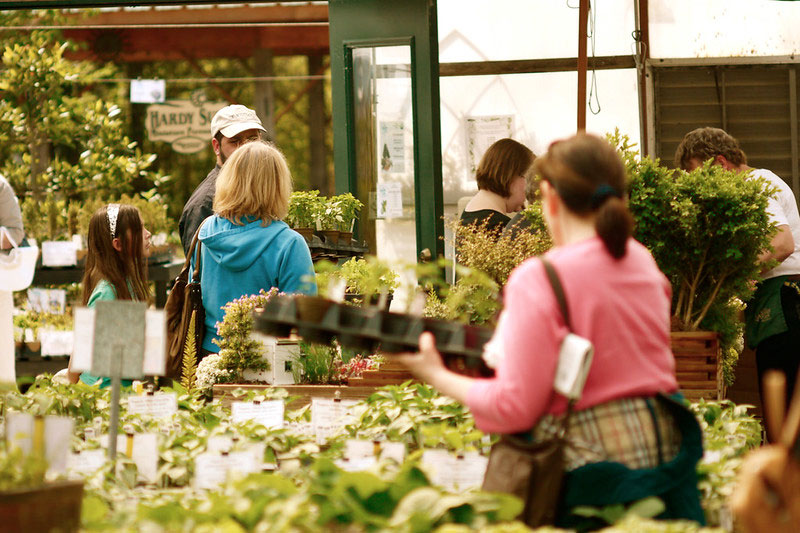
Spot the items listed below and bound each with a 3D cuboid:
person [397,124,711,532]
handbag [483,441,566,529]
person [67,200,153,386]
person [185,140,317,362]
[{"bbox_3d":[0.862,0.319,5.828,1.216,1.949,0.302,-1,-1,-12],"label":"person"},{"bbox_3d":[0.622,1.067,5.740,0.325,0.484,0.252,7,6,0],"label":"handbag"},{"bbox_3d":[-2.027,0.015,8.258,0.567,0.492,1.209,2,-45,-15],"label":"person"},{"bbox_3d":[-0.965,-0.131,7.475,0.825,1.348,0.309,-2,-1,14],"label":"person"}]
